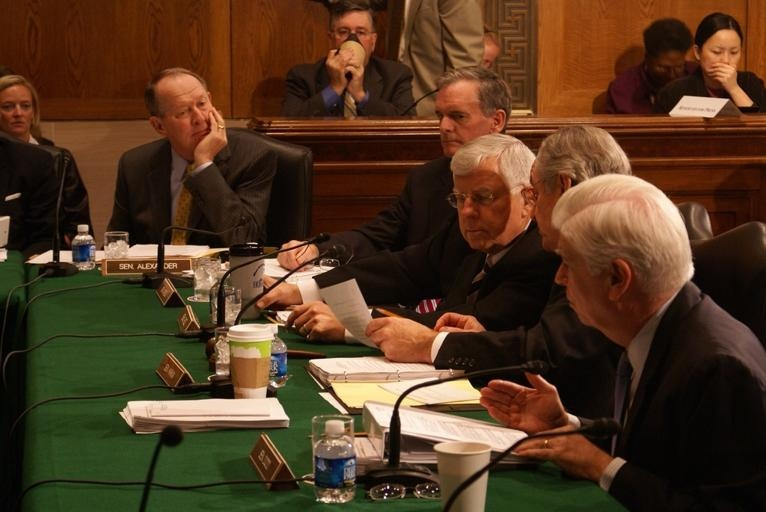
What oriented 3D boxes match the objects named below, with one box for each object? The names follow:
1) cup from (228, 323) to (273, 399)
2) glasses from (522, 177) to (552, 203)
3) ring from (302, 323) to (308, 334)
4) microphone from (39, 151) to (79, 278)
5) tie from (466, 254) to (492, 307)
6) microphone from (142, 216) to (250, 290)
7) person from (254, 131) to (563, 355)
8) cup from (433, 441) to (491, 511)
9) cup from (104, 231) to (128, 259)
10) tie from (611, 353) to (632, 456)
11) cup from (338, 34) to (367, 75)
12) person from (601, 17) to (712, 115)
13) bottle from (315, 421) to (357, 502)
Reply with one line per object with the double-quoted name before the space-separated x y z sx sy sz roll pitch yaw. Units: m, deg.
"cup" -0.404 0.331 2.080 0.155 0.209 0.150 0 -2 0
"glasses" 0.616 -0.248 2.709 0.102 0.100 0.075 -37 11 18
"ring" -0.312 0.297 2.741 0.009 0.030 0.031 -7 10 -37
"microphone" -1.763 -0.217 3.745 0.207 0.604 0.220 3 10 -12
"tie" 0.441 0.108 3.117 0.071 0.205 0.137 10 11 -38
"microphone" -0.992 -0.020 3.675 0.438 0.257 0.147 -1 6 -22
"person" 0.158 -0.103 3.100 1.247 0.802 0.873 -5 10 -28
"cup" 0.148 0.486 1.528 0.141 0.149 0.143 -1 -3 0
"cup" -1.517 -0.064 3.873 0.149 0.158 0.148 2 5 0
"tie" 0.747 0.432 2.106 0.077 0.260 0.026 -3 13 -21
"cup" -0.240 -1.685 5.571 0.215 0.353 0.138 0 -24 -6
"person" 2.885 -1.905 7.155 1.107 1.034 0.598 -2 30 -7
"bottle" -0.115 0.466 1.614 0.105 0.193 0.136 -1 9 -3
